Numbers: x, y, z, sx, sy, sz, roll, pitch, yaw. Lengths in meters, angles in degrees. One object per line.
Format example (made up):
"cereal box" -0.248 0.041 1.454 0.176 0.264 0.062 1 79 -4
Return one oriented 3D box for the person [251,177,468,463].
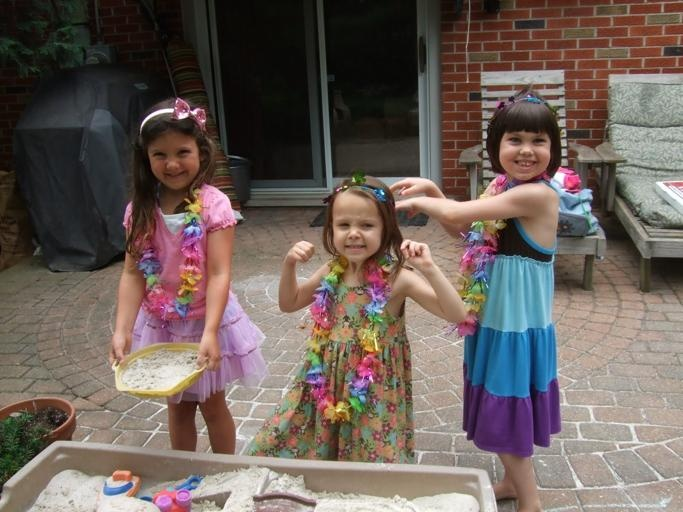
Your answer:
"person" 0.068 0.356 2.252 0.898 1.362 0.548 2 20 14
